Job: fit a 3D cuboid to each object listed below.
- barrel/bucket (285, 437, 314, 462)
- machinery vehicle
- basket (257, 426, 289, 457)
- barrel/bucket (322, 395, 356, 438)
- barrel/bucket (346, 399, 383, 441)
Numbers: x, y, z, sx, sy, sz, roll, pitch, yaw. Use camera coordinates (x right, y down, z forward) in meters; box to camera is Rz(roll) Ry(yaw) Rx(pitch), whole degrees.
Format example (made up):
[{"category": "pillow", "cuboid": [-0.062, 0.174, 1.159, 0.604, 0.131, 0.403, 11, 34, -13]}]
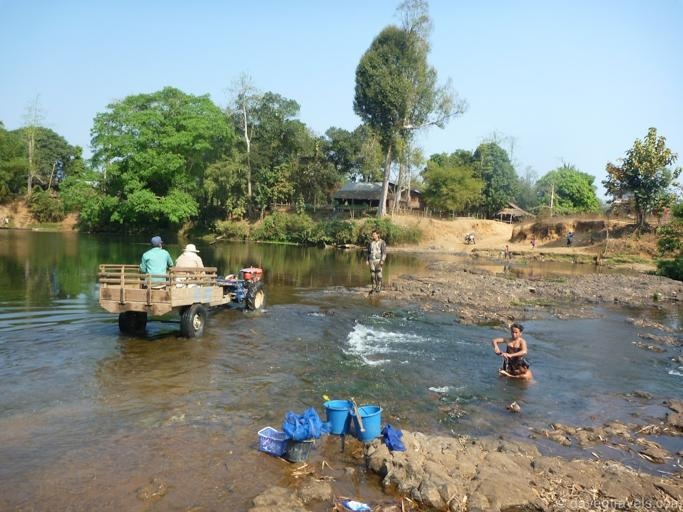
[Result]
[{"category": "barrel/bucket", "cuboid": [-0.772, 3.567, 9.555, 0.399, 0.311, 0.406, 0, -4, 0]}, {"category": "machinery vehicle", "cuboid": [-4.376, 1.137, 15.814, 2.311, 1.858, 4.917, 2, 5, 27]}, {"category": "basket", "cuboid": [-1.270, 3.449, 9.674, 0.539, 0.307, 0.395, 11, 2, 32]}, {"category": "barrel/bucket", "cuboid": [-0.063, 3.178, 10.353, 0.708, 0.694, 0.765, 0, -11, 0]}, {"category": "barrel/bucket", "cuboid": [0.521, 3.239, 10.086, 0.570, 0.502, 0.573, -4, 0, 0]}]
